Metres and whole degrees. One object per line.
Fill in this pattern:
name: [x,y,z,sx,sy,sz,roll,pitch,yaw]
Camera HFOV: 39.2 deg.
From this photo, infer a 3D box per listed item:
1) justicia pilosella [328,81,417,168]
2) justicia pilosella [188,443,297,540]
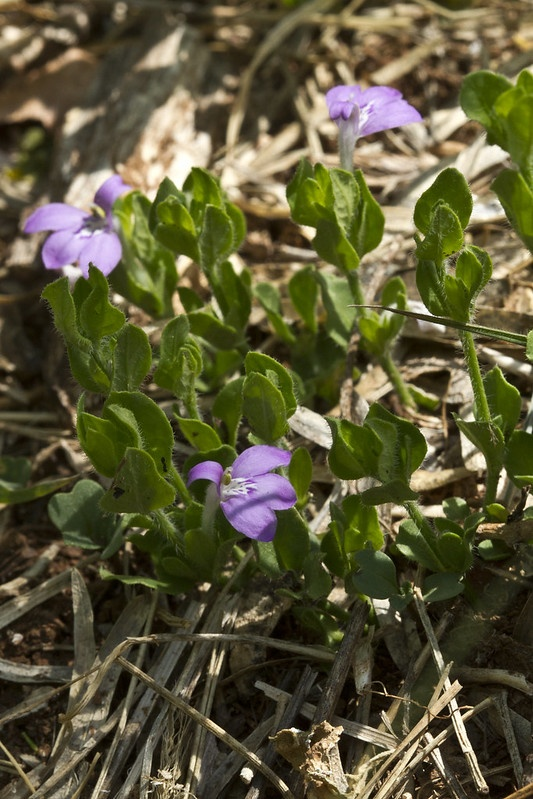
justicia pilosella: [0.266,-0.676,1.873,0.201,0.219,0.270,-8,28,6]
justicia pilosella: [-0.031,0.178,1.516,0.226,0.080,0.204,-7,42,11]
